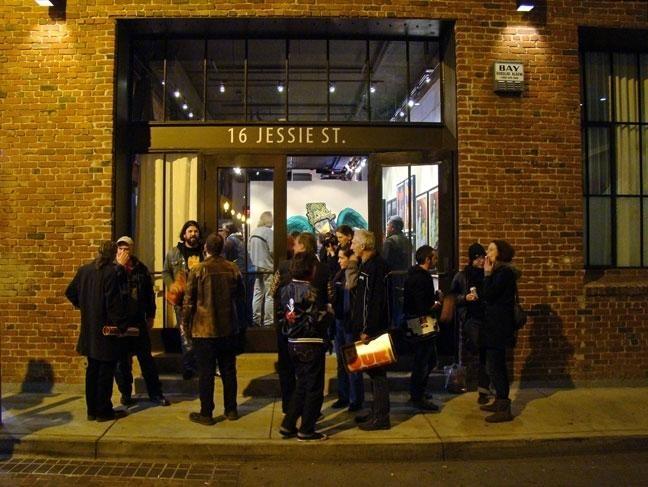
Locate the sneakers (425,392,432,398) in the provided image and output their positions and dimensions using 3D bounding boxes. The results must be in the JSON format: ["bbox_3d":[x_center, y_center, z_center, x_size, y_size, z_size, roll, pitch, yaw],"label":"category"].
[{"bbox_3d":[1.583,2.314,11.317,0.086,0.046,0.147,-1,-8,6],"label":"sneakers"}]

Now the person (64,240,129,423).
[{"bbox_3d":[-3.195,1.224,10.483,0.707,2.482,0.362,0,0,25],"label":"person"}]

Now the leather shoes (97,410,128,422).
[{"bbox_3d":[-2.963,2.417,10.467,0.389,0.172,0.132,-1,5,-32],"label":"leather shoes"}]

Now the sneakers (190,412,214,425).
[{"bbox_3d":[-1.697,2.431,10.284,0.336,0.153,0.149,16,0,18],"label":"sneakers"}]

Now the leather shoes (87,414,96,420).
[{"bbox_3d":[-3.237,2.434,10.419,0.057,0.078,0.120,4,0,-38],"label":"leather shoes"}]

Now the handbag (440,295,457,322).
[{"bbox_3d":[1.816,0.947,10.978,0.121,0.253,0.355,2,36,16],"label":"handbag"}]

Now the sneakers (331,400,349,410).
[{"bbox_3d":[0.231,2.390,10.962,0.243,0.112,0.096,6,-8,-23],"label":"sneakers"}]

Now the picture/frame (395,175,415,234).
[{"bbox_3d":[1.348,-0.639,12.378,0.304,0.846,0.073,0,0,4],"label":"picture/frame"}]

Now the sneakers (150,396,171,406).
[{"bbox_3d":[-2.400,2.332,11.016,0.295,0.123,0.122,-1,-3,18],"label":"sneakers"}]

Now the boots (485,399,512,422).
[{"bbox_3d":[2.464,2.343,10.525,0.369,0.281,0.437,0,0,14],"label":"boots"}]

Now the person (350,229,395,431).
[{"bbox_3d":[0.644,1.169,10.288,0.522,2.249,0.585,0,0,3],"label":"person"}]

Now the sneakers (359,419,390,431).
[{"bbox_3d":[0.685,2.478,10.144,0.334,0.151,0.182,3,-7,6],"label":"sneakers"}]

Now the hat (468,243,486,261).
[{"bbox_3d":[2.262,0.115,11.146,0.240,0.250,0.224,-11,-2,23],"label":"hat"}]

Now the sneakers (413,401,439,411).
[{"bbox_3d":[1.480,2.372,10.882,0.386,0.176,0.136,-3,0,6],"label":"sneakers"}]

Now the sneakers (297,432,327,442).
[{"bbox_3d":[-0.152,2.525,9.789,0.340,0.155,0.147,1,-5,-11],"label":"sneakers"}]

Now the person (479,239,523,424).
[{"bbox_3d":[2.487,1.217,10.504,0.518,2.339,0.379,0,0,11],"label":"person"}]
